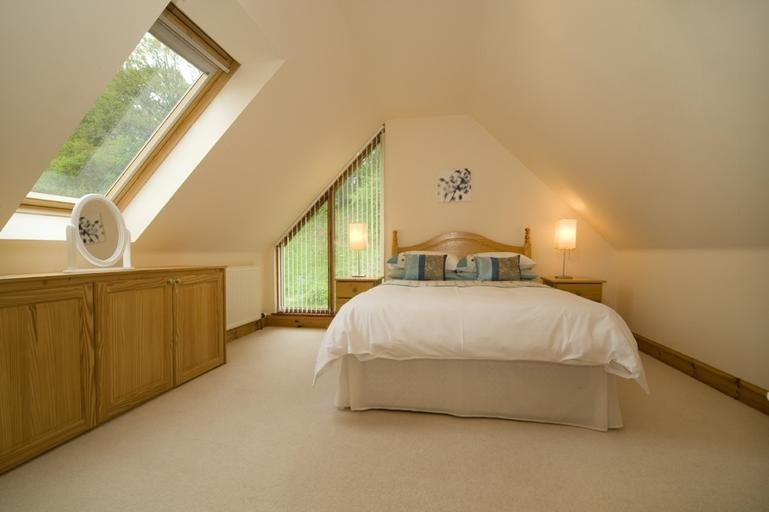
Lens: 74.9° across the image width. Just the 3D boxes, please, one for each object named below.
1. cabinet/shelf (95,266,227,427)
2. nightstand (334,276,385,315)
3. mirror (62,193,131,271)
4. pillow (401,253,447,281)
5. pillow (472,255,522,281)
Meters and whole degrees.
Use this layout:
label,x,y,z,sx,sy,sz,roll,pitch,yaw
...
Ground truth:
label,x,y,z,sx,sy,sz,roll,pitch,yaw
cabinet/shelf,-2.151,0.679,4.671,0.463,1.116,1.463,4,6,22
nightstand,-0.386,0.471,6.336,0.465,0.506,0.428,-1,-6,4
mirror,-2.502,-0.185,4.286,0.139,0.795,0.635,-3,0,28
pillow,0.457,0.133,5.898,0.338,0.355,0.110,-2,-40,3
pillow,1.311,0.118,5.760,0.335,0.342,0.112,0,-43,18
